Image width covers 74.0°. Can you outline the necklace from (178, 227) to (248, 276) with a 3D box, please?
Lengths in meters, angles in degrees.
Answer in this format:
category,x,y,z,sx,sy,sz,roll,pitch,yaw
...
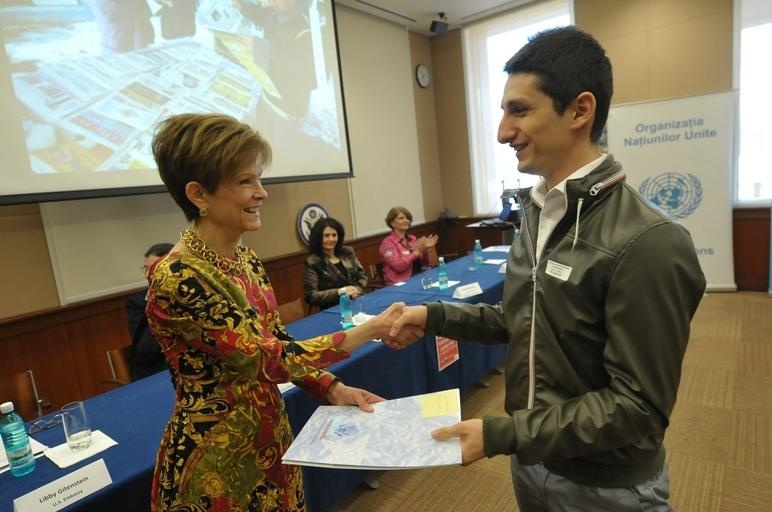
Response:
category,x,y,z,sx,sy,sz,roll,pitch,yaw
necklace,-0.759,-0.015,2.228,0.048,0.238,0.212,-46,-8,37

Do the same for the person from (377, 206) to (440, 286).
category,x,y,z,sx,sy,sz,roll,pitch,yaw
person,0.245,0.044,5.604,0.561,1.122,0.604,-6,5,-30

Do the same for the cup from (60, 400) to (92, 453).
category,x,y,z,sx,sy,sz,roll,pitch,yaw
cup,-1.596,0.867,2.639,0.122,0.207,0.176,-15,10,-35
